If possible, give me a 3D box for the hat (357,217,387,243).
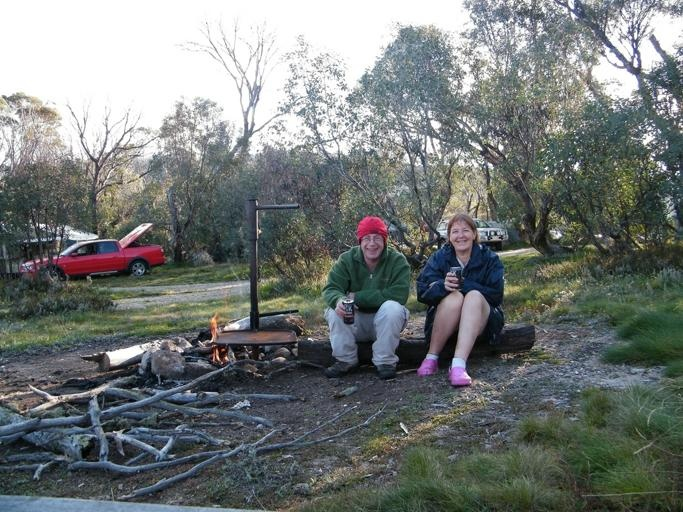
[{"bbox_3d":[0.337,-0.281,5.991,0.237,0.258,0.263,1,1,-3],"label":"hat"}]

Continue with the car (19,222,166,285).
[{"bbox_3d":[-8.889,-0.269,20.679,4.552,2.221,1.833,3,-5,-37],"label":"car"}]

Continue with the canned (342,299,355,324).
[{"bbox_3d":[0.078,0.585,5.737,0.117,0.299,0.173,-4,7,0],"label":"canned"}]

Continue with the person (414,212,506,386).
[{"bbox_3d":[1.144,0.366,5.581,0.752,1.538,1.072,2,10,42],"label":"person"}]

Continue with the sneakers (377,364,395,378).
[{"bbox_3d":[0.464,1.170,5.676,0.103,0.060,0.140,-5,5,-4],"label":"sneakers"}]

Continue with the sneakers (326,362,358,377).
[{"bbox_3d":[-0.019,1.209,5.972,0.364,0.205,0.133,3,7,-23],"label":"sneakers"}]

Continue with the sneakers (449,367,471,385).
[{"bbox_3d":[1.108,1.108,5.122,0.209,0.154,0.164,-3,7,18],"label":"sneakers"}]

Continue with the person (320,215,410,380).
[{"bbox_3d":[0.268,0.425,5.915,0.947,1.653,0.716,-3,7,8],"label":"person"}]

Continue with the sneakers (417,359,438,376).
[{"bbox_3d":[0.886,1.110,5.537,0.232,0.137,0.216,-6,7,-7],"label":"sneakers"}]
